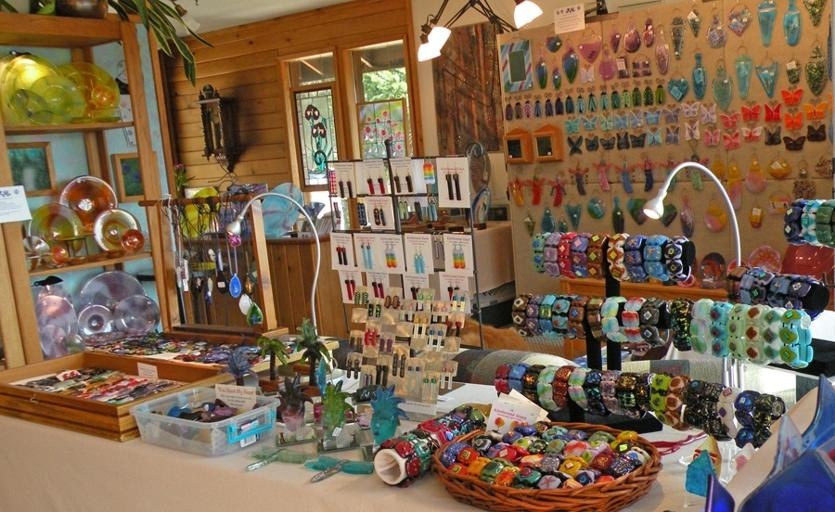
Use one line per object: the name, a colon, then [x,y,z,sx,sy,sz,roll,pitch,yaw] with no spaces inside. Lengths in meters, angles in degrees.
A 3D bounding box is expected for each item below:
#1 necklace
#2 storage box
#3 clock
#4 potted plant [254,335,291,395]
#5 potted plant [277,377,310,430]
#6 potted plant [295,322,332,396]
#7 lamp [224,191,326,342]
necklace: [-1.160,0.008,3.288,0.771,0.788,0.107,4,12,28]
storage box: [-0.921,0.711,2.405,0.454,0.130,0.313,0,3,34]
clock: [-2.939,-1.854,8.626,0.596,1.148,0.316,-3,4,-7]
potted plant: [-0.677,0.532,2.789,0.140,0.188,0.129,5,-4,-23]
potted plant: [-0.524,0.617,2.410,0.103,0.213,0.142,-3,4,-18]
potted plant: [-0.482,0.463,2.628,0.157,0.314,0.175,2,15,8]
lamp: [-0.915,0.046,3.838,0.497,1.036,2.601,-3,3,-11]
